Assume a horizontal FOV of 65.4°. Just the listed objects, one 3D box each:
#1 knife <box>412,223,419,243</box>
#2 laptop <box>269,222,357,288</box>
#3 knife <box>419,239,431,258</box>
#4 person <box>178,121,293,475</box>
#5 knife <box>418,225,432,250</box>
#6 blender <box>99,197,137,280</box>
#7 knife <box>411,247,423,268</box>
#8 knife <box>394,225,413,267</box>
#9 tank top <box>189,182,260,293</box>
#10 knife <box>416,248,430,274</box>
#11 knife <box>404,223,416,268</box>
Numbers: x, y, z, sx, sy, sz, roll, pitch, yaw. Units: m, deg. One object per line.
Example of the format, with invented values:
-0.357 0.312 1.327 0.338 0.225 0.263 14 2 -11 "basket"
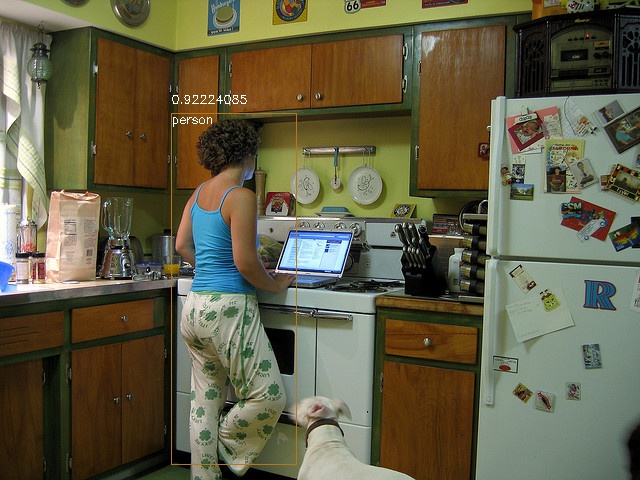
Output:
0.477 -0.029 2.492 0.023 0.094 0.019 -14 8 -2 "knife"
-0.027 0.080 2.839 0.376 0.363 0.238 9 -5 24 "laptop"
0.530 0.046 2.512 0.030 0.132 0.034 -16 -8 10 "knife"
-0.425 0.314 2.453 0.503 1.785 0.314 0 3 -5 "person"
0.531 -0.017 2.527 0.036 0.149 0.043 -28 10 -10 "knife"
-1.186 -0.004 2.940 0.247 0.474 0.197 0 3 -1 "blender"
0.491 0.098 2.522 0.029 0.116 0.041 -16 25 7 "knife"
0.423 0.007 2.560 0.059 0.289 0.052 -9 24 19 "knife"
-0.469 0.012 2.397 0.308 0.508 0.161 0 3 -7 "tank top"
0.517 0.109 2.514 0.043 0.173 0.039 -17 20 6 "knife"
0.453 -0.002 2.486 0.031 0.143 0.026 -9 14 7 "knife"
